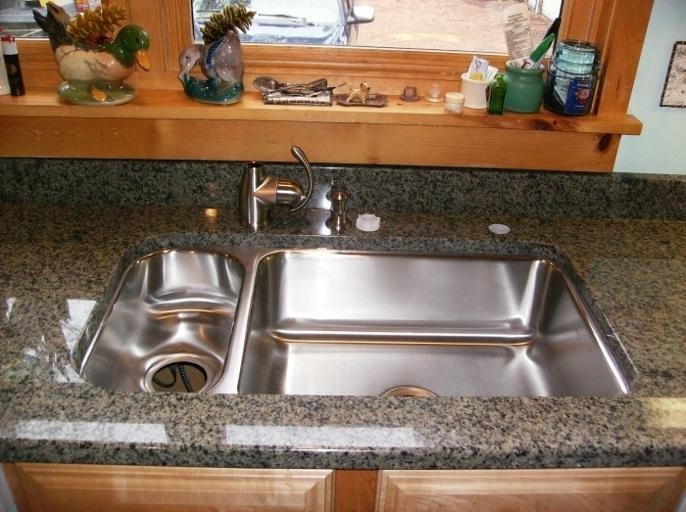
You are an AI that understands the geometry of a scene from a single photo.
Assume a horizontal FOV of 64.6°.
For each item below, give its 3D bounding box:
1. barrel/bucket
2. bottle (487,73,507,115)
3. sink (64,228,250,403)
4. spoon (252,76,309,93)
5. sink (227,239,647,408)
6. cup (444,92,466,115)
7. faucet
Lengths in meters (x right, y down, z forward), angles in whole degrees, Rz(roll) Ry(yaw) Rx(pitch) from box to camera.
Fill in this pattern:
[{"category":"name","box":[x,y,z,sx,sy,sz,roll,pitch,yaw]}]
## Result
[{"category":"barrel/bucket","box":[0.640,-0.498,1.535,0.148,0.168,0.167,13,21,20]},{"category":"bottle","box":[0.434,-0.451,1.504,0.052,0.103,0.100,7,33,12]},{"category":"sink","box":[-0.452,0.167,1.356,0.344,0.142,0.388,6,47,-5]},{"category":"spoon","box":[-0.176,-0.488,1.538,0.146,0.038,0.117,-1,31,-2]},{"category":"sink","box":[0.178,0.185,1.483,0.729,0.231,0.409,1,49,-1]},{"category":"cup","box":[0.309,-0.424,1.519,0.064,0.043,0.060,-1,40,1]},{"category":"faucet","box":[-0.182,-0.165,1.485,0.203,0.177,0.076,-8,35,-12]}]
